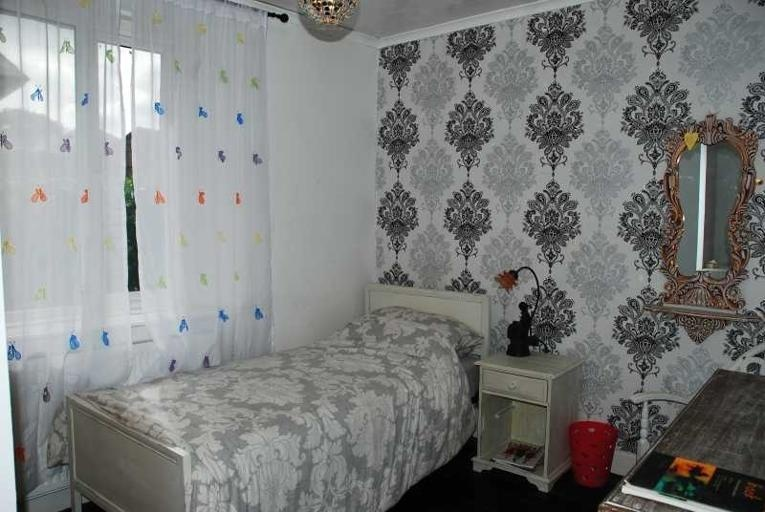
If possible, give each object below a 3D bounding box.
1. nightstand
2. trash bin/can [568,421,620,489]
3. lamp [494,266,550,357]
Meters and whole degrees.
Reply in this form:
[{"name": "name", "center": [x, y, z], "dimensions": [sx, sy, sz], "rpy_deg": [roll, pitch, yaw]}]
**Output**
[{"name": "nightstand", "center": [1.046, 1.165, 4.410], "dimensions": [0.829, 1.151, 0.884], "rpy_deg": [0, 0, 41]}, {"name": "trash bin/can", "center": [1.508, 1.459, 4.076], "dimensions": [0.363, 0.426, 0.375], "rpy_deg": [-2, -8, 15]}, {"name": "lamp", "center": [1.087, 0.425, 4.402], "dimensions": [0.482, 0.675, 0.377], "rpy_deg": [4, 7, 21]}]
